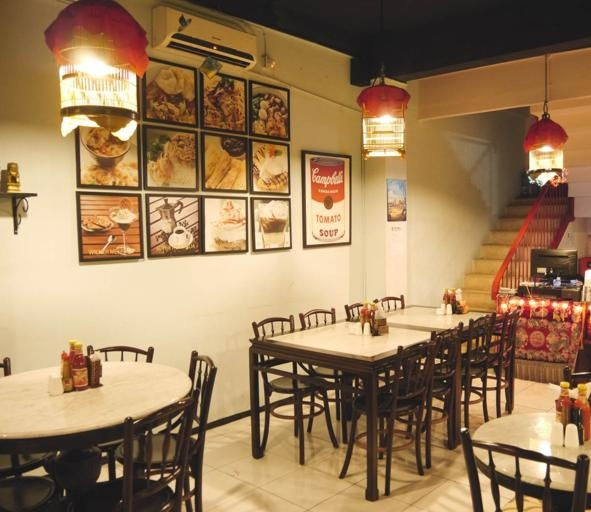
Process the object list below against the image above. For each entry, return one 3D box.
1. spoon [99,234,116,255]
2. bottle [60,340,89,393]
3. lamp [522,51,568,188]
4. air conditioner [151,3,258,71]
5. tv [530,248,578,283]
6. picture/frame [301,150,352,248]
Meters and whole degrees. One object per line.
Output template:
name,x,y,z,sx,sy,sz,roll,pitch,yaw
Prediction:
spoon,-1.591,-0.099,4.394,0.042,0.038,0.219,12,47,10
bottle,-1.358,0.676,3.191,0.155,0.302,0.088,-3,6,-25
lamp,2.591,-1.370,5.331,0.377,1.204,0.398,-4,7,20
air conditioner,-0.810,-2.014,4.823,0.287,0.351,1.015,3,6,43
tv,3.334,0.108,6.634,0.620,0.490,0.362,1,0,42
picture/frame,0.352,-0.699,6.262,0.047,1.428,1.078,1,4,41
